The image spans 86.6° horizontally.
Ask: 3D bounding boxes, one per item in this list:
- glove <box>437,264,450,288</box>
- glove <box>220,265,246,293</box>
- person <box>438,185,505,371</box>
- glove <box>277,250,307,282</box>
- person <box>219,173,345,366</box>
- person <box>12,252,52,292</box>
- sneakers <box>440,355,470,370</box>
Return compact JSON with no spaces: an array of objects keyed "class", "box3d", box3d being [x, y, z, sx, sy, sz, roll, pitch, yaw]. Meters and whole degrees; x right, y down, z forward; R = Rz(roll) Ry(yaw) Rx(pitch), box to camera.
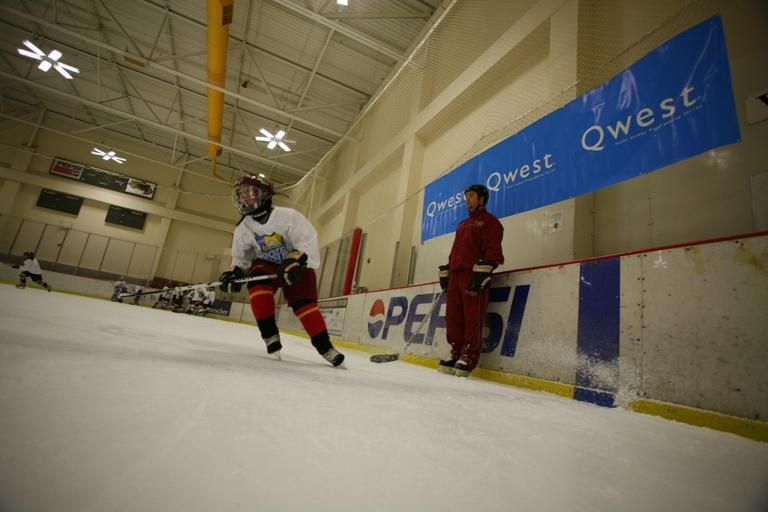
[{"class":"glove","box3d":[0.635,0.230,4.386,0.099,0.217,0.159,-3,1,-25]},{"class":"glove","box3d":[-1.309,0.202,3.491,0.264,0.190,0.122,-17,-36,34]},{"class":"person","box3d":[0.876,0.175,4.079,0.302,1.925,0.542,12,-9,-22]},{"class":"glove","box3d":[-0.711,0.082,3.146,0.222,0.187,0.097,-35,-50,5]},{"class":"person","box3d":[-0.875,0.060,3.378,1.235,1.451,0.425,5,-9,26]},{"class":"person","box3d":[-9.901,0.462,11.410,1.305,1.228,0.473,5,33,-42]},{"class":"sneakers","box3d":[0.668,1.013,3.873,0.267,0.120,0.106,-1,-12,43]}]
